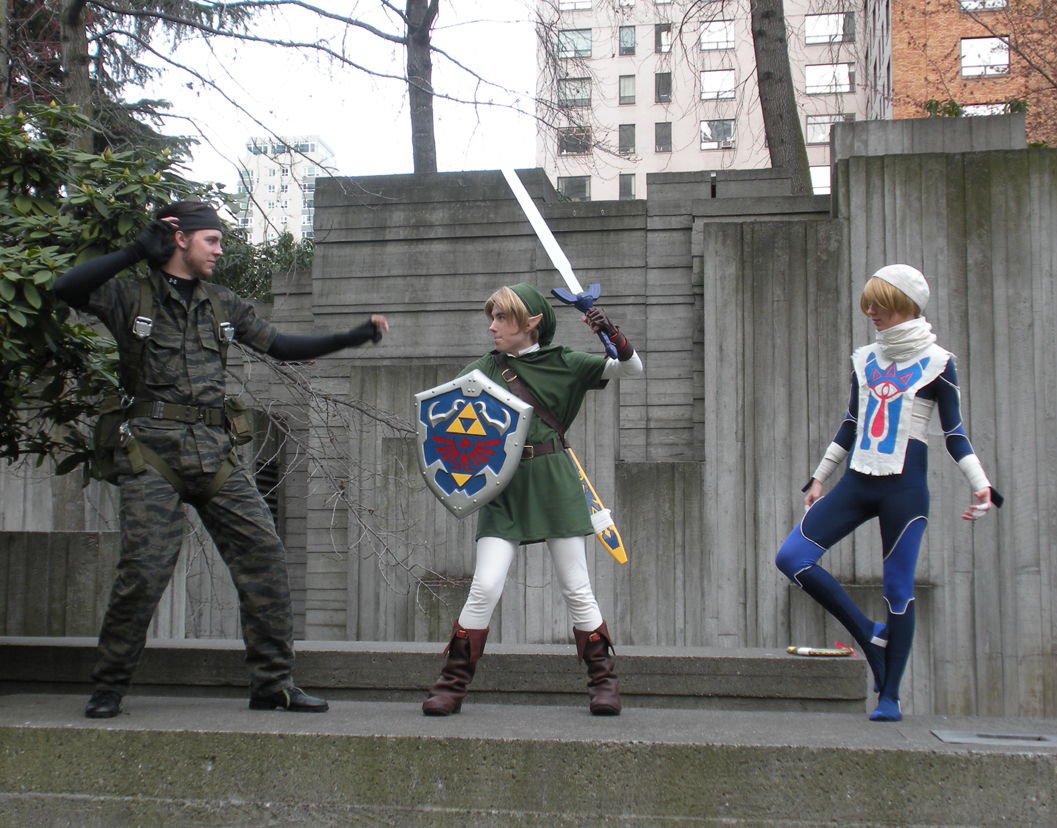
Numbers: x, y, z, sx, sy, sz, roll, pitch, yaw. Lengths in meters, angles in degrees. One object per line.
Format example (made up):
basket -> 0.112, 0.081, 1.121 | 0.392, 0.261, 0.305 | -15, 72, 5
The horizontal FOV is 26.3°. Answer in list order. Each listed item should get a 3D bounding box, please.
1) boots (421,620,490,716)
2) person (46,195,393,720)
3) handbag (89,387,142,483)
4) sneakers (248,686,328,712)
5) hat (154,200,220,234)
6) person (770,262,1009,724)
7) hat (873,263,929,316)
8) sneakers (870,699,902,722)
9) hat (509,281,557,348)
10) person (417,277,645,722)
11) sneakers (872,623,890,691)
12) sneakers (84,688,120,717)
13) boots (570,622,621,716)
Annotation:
boots -> -0.548, 1.727, 15.446 | 0.461, 0.612, 0.248 | 1, -3, -35
person -> -2.315, 0.276, 15.316 | 1.654, 3.474, 0.420 | 0, -3, -6
handbag -> -2.906, 0.150, 15.713 | 0.254, 0.649, 1.111 | 0, -2, -13
sneakers -> -1.647, 1.921, 15.483 | 0.562, 0.204, 0.198 | -1, -6, -1
hat -> -2.321, -1.359, 15.434 | 0.366, 0.177, 0.277 | -2, 2, -3
person -> 2.450, 0.505, 15.476 | 1.382, 3.099, 0.508 | -1, -3, 10
hat -> 2.572, -0.887, 15.603 | 0.361, 0.341, 0.407 | -1, -2, 8
sneakers -> 2.419, 1.978, 15.241 | 0.207, 0.145, 0.138 | -1, -2, 19
hat -> 0.038, -0.736, 15.855 | 0.336, 0.410, 0.254 | 3, 8, 29
person -> 0.055, 0.566, 15.569 | 1.357, 2.981, 0.503 | -1, -3, 2
sneakers -> 2.412, 1.643, 15.471 | 0.206, 0.438, 0.140 | -2, 3, 1
sneakers -> -2.866, 1.927, 15.124 | 0.242, 0.168, 0.347 | 0, -2, -11
boots -> 0.480, 1.746, 15.621 | 0.304, 0.622, 0.332 | 0, -2, 1
